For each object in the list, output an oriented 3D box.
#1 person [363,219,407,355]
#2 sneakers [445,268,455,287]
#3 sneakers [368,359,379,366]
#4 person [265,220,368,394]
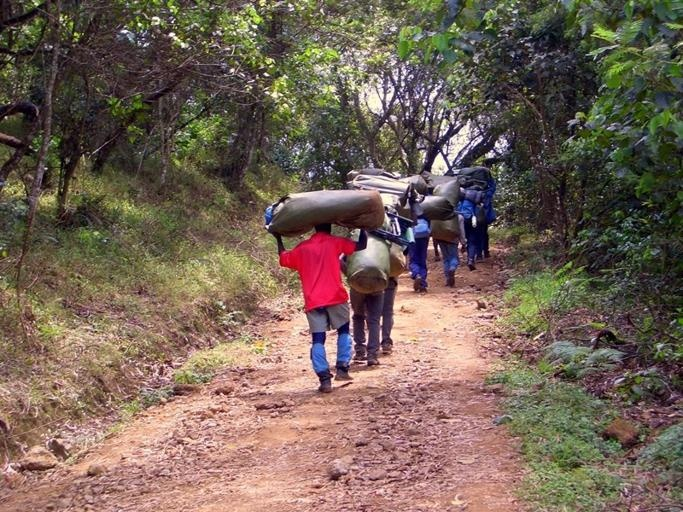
[{"bbox_3d":[0.651,0.791,8.763,0.519,1.650,0.492,1,-28,4],"label":"person"},{"bbox_3d":[2.250,0.460,13.173,0.187,0.329,0.170,-3,-3,5],"label":"sneakers"},{"bbox_3d":[0.418,1.402,8.265,0.075,0.066,0.179,-1,0,21],"label":"sneakers"},{"bbox_3d":[-0.144,0.583,7.565,0.997,1.984,0.582,-18,10,-20],"label":"person"}]
